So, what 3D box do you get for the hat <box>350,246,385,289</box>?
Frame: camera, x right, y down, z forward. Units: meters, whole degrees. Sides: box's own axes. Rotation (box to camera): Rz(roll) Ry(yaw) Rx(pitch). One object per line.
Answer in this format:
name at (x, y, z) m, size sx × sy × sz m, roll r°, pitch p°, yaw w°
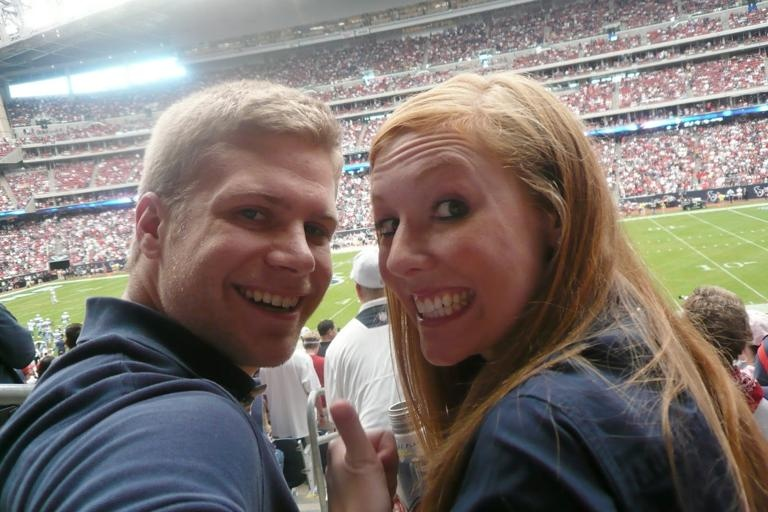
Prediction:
hat at (-0.133, 0.117, 5.308) m, size 0.252 × 0.212 × 0.360 m, roll -2°, pitch 8°, yaw -8°
